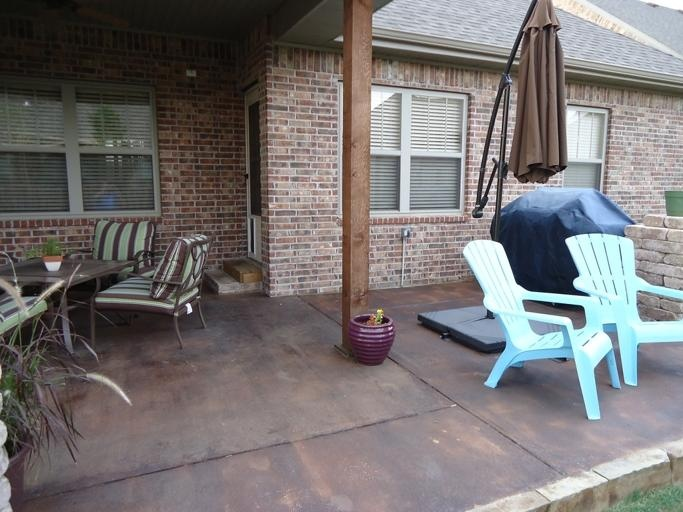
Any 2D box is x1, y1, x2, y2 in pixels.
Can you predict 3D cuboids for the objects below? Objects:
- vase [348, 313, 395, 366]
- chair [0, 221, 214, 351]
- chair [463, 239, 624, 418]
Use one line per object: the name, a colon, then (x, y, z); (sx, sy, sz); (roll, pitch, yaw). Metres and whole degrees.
vase: (0.274, 0.739, 4.420); (0.370, 0.358, 0.416); (1, 5, -1)
chair: (-2.258, 0.236, 5.054); (1.686, 1.159, 1.124); (4, 7, 6)
chair: (1.616, 0.524, 3.973); (1.107, 1.109, 0.842); (7, 12, 41)
